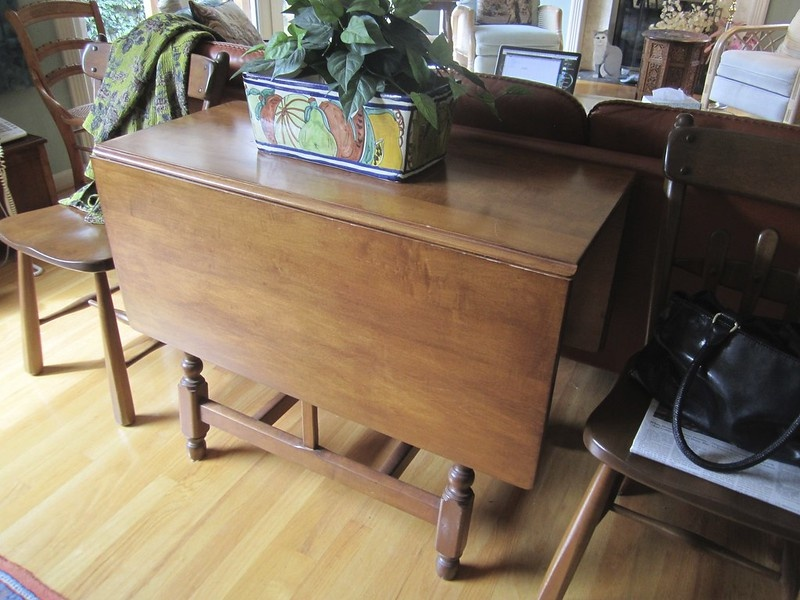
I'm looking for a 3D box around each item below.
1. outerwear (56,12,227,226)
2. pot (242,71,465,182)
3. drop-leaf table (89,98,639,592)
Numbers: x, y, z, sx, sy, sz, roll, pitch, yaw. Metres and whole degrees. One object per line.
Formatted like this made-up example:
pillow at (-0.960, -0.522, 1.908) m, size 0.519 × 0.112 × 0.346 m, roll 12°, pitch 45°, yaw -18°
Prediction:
outerwear at (-0.855, -0.600, 2.018) m, size 0.534 × 0.527 × 0.430 m, roll -8°, pitch 17°, yaw -32°
pot at (-0.115, -0.433, 1.394) m, size 0.417 × 0.155 × 0.255 m, roll 18°, pitch 40°, yaw 18°
drop-leaf table at (-0.073, 0.123, 1.458) m, size 1.081 × 0.891 × 0.542 m, roll 18°, pitch 39°, yaw 22°
